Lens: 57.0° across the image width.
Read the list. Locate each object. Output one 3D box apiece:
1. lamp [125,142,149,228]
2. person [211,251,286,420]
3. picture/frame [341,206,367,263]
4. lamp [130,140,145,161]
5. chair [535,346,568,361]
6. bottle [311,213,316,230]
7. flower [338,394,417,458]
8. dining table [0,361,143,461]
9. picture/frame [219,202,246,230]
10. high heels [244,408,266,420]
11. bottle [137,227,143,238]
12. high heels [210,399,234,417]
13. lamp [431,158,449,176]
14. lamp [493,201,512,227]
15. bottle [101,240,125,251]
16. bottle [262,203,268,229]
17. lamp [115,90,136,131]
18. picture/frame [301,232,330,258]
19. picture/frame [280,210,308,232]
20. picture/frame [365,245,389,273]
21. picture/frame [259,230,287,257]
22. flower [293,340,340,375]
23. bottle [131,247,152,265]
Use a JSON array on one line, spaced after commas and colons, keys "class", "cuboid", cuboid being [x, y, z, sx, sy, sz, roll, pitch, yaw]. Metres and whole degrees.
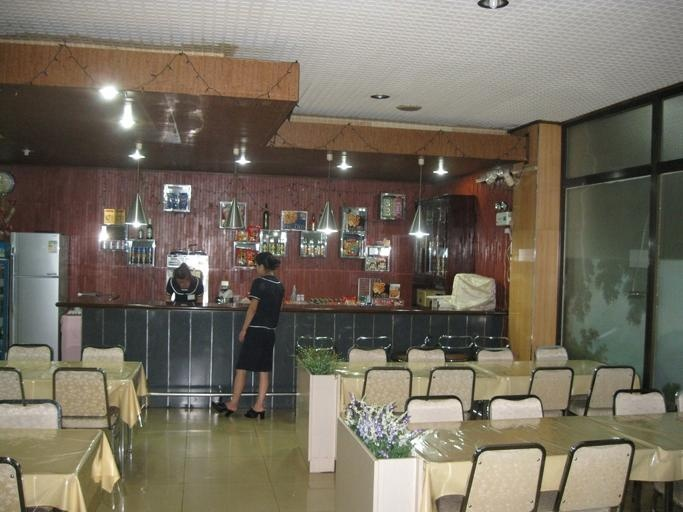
[{"class": "lamp", "cuboid": [-3.153, -0.996, 9.732, 0.323, 1.330, 3.031, -1, 6, -18]}, {"class": "person", "cuboid": [-1.104, 0.987, 7.864, 0.740, 2.071, 0.345, 0, 6, -6]}, {"class": "picture/frame", "cuboid": [0.240, -0.439, 11.656, 0.483, 0.914, 0.259, 1, 6, -2]}, {"class": "lamp", "cuboid": [-2.970, -1.532, 9.258, 0.227, 0.245, 0.200, 3, 0, -39]}, {"class": "chair", "cuboid": [2.516, 1.171, 7.572, 0.229, 0.211, 0.236, 2, 2, 4]}, {"class": "bottle", "cuboid": [-0.493, -0.620, 11.544, 0.099, 0.310, 0.186, 1, 6, -5]}, {"class": "flower", "cuboid": [0.291, 1.176, 4.492, 0.334, 0.319, 0.620, -1, 7, -21]}, {"class": "dining table", "cuboid": [-2.404, 1.351, 5.551, 0.902, 0.235, 0.757, 2, 6, -1]}, {"class": "picture/frame", "cuboid": [-1.829, -0.664, 10.457, 0.499, 0.503, 0.285, 0, -7, -3]}, {"class": "high heels", "cuboid": [-1.081, 1.981, 7.919, 0.200, 0.091, 0.114, 6, -4, -11]}, {"class": "bottle", "cuboid": [-3.527, -0.401, 11.052, 0.088, 0.172, 0.052, 1, 6, 0]}, {"class": "high heels", "cuboid": [-1.513, 1.937, 8.015, 0.279, 0.117, 0.154, 31, -21, -25]}, {"class": "lamp", "cuboid": [1.511, -1.336, 9.527, 0.167, 0.199, 0.174, 2, 2, 8]}, {"class": "lamp", "cuboid": [2.393, -0.614, 9.392, 0.165, 0.379, 0.522, 0, 6, -11]}, {"class": "bottle", "cuboid": [-4.003, -0.190, 11.071, 0.356, 0.193, 0.087, 3, 2, -7]}, {"class": "bottle", "cuboid": [-1.371, -0.720, 11.397, 0.144, 0.454, 0.155, 1, 6, 0]}, {"class": "lamp", "cuboid": [-2.252, -1.534, 6.565, 0.149, 0.284, 0.144, 9, 18, -2]}, {"class": "picture/frame", "cuboid": [-0.505, -0.212, 11.524, 0.440, 0.438, 0.152, 2, -4, -13]}, {"class": "picture/frame", "cuboid": [-0.883, -0.638, 11.505, 0.378, 0.293, 0.053, 1, -5, -18]}, {"class": "picture/frame", "cuboid": [0.676, 0.047, 11.662, 0.490, 0.475, 0.206, 1, 6, 2]}, {"class": "picture/frame", "cuboid": [-1.221, -0.228, 11.076, 0.481, 0.468, 0.160, 1, 4, -7]}, {"class": "flower", "cuboid": [-0.248, 1.088, 6.454, 0.427, 0.271, 0.423, 3, -1, -9]}, {"class": "bottle", "cuboid": [-3.505, -0.003, 11.014, 0.304, 0.308, 0.084, -1, -2, -8]}]
